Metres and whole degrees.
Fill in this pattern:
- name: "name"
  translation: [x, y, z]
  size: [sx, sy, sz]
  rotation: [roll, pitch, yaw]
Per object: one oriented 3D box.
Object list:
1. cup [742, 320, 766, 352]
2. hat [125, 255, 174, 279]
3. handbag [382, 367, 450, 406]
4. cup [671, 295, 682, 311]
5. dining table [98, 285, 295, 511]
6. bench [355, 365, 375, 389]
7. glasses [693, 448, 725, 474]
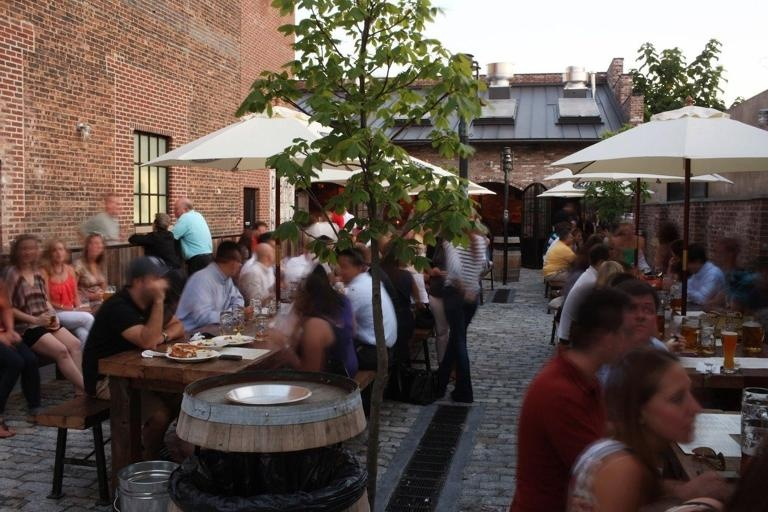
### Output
- name: "cup"
  translation: [3.609, 0.801, 6.083]
  size: [0.258, 0.297, 0.279]
  rotation: [0, -3, 0]
- name: "hat"
  translation: [-2.230, 0.116, 5.965]
  size: [0.433, 0.237, 0.318]
  rotation: [2, 3, -17]
- name: "handbag"
  translation: [0.405, 1.921, 8.319]
  size: [0.800, 0.550, 0.441]
  rotation: [-1, -6, 11]
- name: "cup"
  translation: [3.571, 0.575, 7.607]
  size: [0.146, 0.158, 0.146]
  rotation: [1, -5, 0]
- name: "dining table"
  translation: [-1.650, 1.376, 5.713]
  size: [1.516, 0.927, 0.852]
  rotation: [-1, 7, 21]
- name: "bench"
  translation: [-0.205, 1.292, 6.669]
  size: [0.177, 0.151, 0.622]
  rotation: [2, 4, 9]
- name: "glasses"
  translation: [2.025, 1.271, 3.877]
  size: [0.118, 0.038, 0.118]
  rotation: [-9, 21, 38]
